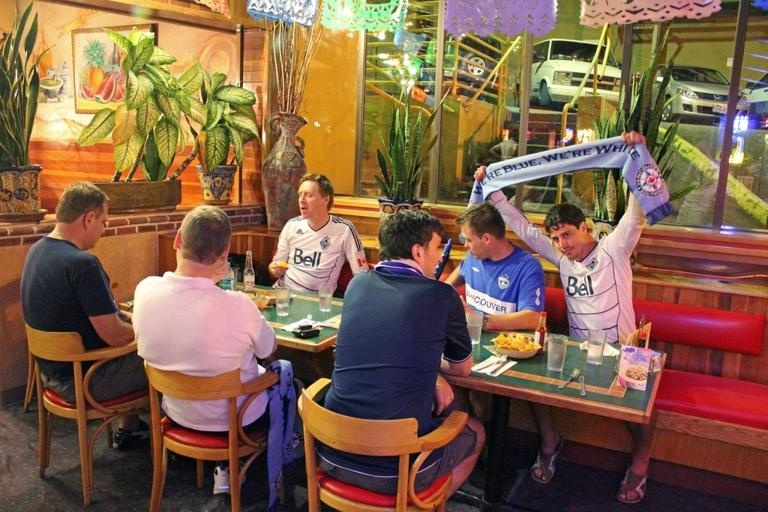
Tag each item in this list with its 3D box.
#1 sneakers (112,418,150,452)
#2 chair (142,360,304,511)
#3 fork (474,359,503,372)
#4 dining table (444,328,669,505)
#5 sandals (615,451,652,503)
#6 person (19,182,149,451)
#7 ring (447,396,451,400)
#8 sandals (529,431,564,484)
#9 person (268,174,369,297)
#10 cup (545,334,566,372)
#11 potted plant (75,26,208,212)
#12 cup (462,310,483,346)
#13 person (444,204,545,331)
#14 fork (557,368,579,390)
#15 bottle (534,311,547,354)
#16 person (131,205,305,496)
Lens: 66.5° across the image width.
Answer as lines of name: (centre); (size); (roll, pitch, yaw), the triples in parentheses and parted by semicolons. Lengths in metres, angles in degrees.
sneakers: (-1.857, 1.324, 4.383); (0.174, 0.178, 0.419); (3, -3, 9)
chair: (-0.964, 1.098, 3.572); (0.815, 1.055, 0.708); (4, 11, 20)
fork: (0.597, 0.643, 3.453); (0.058, 0.021, 0.195); (14, 12, 33)
dining table: (1.486, 1.038, 3.944); (1.662, 1.118, 0.400); (0, 0, 34)
sandals: (1.661, 1.493, 3.931); (0.131, 0.095, 0.349); (3, 47, 39)
person: (-1.935, 0.499, 3.868); (0.689, 1.890, 0.487); (-6, 17, -32)
ring: (0.359, 0.786, 3.255); (0.020, 0.009, 0.028); (-1, -1, 11)
sandals: (1.140, 1.393, 4.116); (0.155, 0.118, 0.404); (11, 47, 33)
person: (-0.604, -0.155, 5.143); (1.042, 1.242, 0.699); (5, 4, 24)
cup: (1.016, 0.572, 3.436); (0.109, 0.174, 0.109); (-1, 15, 0)
potted plant: (-2.374, -1.318, 5.898); (1.203, 1.856, 1.065); (5, 0, 28)
cup: (0.578, 0.467, 3.787); (0.130, 0.221, 0.134); (2, 2, 0)
person: (0.788, 0.099, 4.148); (0.575, 1.036, 0.866); (-6, 4, -20)
fork: (1.038, 0.704, 3.334); (0.026, 0.022, 0.157); (7, 28, 38)
bottle: (0.993, 0.431, 3.721); (0.069, 0.239, 0.303); (7, 15, 15)
person: (-1.034, 0.686, 3.465); (0.785, 1.912, 0.396); (-1, 15, -16)
